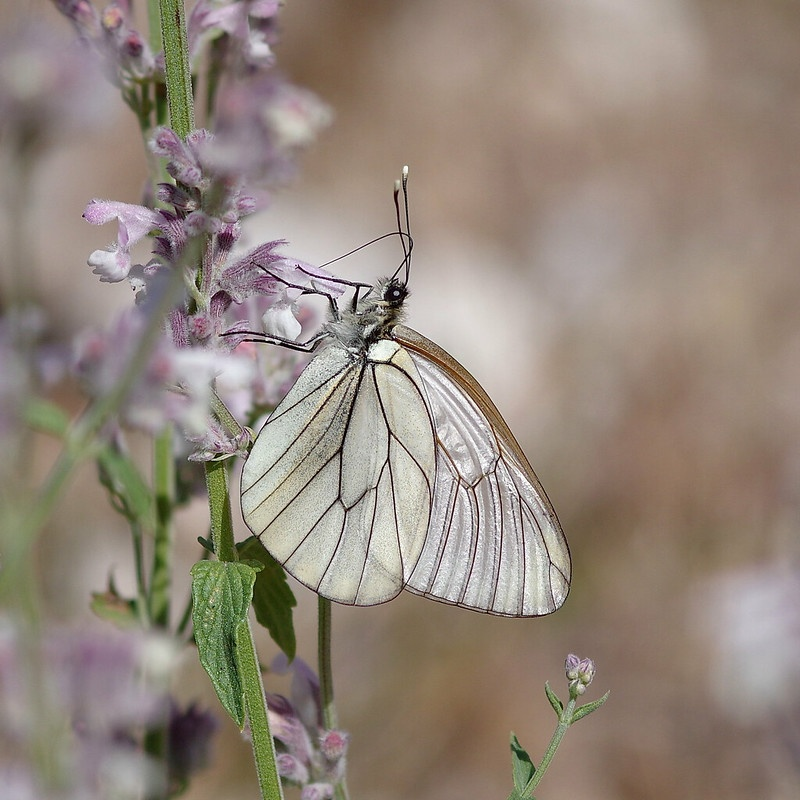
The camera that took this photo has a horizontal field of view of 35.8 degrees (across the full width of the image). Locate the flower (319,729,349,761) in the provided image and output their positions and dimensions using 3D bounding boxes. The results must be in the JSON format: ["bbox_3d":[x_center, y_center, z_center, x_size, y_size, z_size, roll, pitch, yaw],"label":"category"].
[{"bbox_3d":[-0.098,0.517,1.880,0.031,0.039,0.051,-1,-94,-8],"label":"flower"}]

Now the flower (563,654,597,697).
[{"bbox_3d":[0.260,0.398,1.815,0.046,0.089,0.029,13,-27,-14],"label":"flower"}]

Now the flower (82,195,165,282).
[{"bbox_3d":[-0.374,-0.243,1.680,0.109,0.125,0.065,-7,-73,-22],"label":"flower"}]

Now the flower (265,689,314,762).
[{"bbox_3d":[-0.169,0.501,1.890,0.040,0.053,0.109,-39,-106,47],"label":"flower"}]

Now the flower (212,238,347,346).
[{"bbox_3d":[-0.179,-0.131,1.781,0.116,0.074,0.144,19,-50,-4],"label":"flower"}]
